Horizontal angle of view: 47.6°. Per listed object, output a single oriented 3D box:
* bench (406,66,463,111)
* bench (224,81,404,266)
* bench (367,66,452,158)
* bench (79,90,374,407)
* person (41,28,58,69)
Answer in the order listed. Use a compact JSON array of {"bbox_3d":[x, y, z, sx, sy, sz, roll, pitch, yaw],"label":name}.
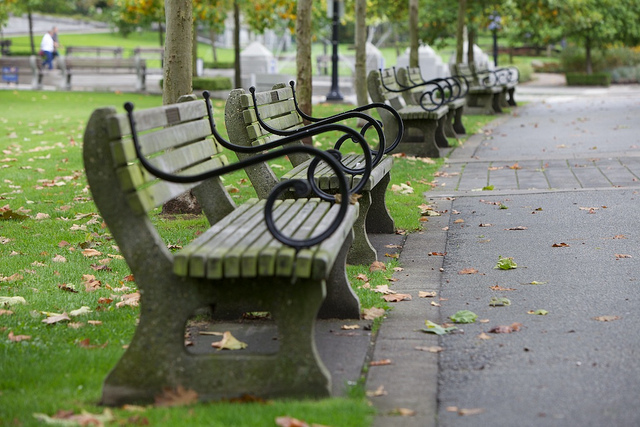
[{"bbox_3d":[1.761,-2.151,12.427,0.637,0.795,2.027,-6,7,16],"label":"bench"},{"bbox_3d":[-0.042,-0.375,6.715,1.564,1.626,3.456,-1,13,6],"label":"bench"},{"bbox_3d":[1.761,-1.781,12.457,1.195,1.380,2.957,2,13,17],"label":"bench"},{"bbox_3d":[-0.668,0.309,5.322,1.161,1.364,2.307,1,9,7],"label":"bench"},{"bbox_3d":[-6.400,-3.909,17.117,0.452,0.342,1.014,3,-30,-8],"label":"person"}]
